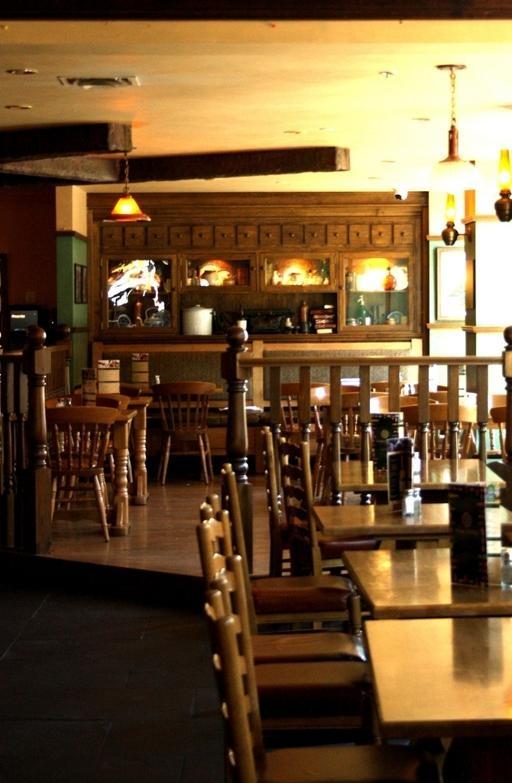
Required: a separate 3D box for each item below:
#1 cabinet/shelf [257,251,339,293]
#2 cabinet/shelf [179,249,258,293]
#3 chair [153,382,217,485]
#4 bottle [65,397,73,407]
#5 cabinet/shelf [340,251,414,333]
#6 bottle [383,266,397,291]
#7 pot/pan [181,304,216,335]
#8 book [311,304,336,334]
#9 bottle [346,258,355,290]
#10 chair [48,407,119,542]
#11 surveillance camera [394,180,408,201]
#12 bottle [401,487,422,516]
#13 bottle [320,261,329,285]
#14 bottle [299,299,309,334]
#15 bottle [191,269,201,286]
[{"bbox_3d":[0.516,-1.394,9.770,0.829,0.399,0.133,-1,2,3],"label":"cabinet/shelf"},{"bbox_3d":[-0.425,-1.392,9.778,0.794,0.352,0.113,-1,2,2],"label":"cabinet/shelf"},{"bbox_3d":[-0.650,0.317,7.657,0.595,0.930,0.626,-3,13,-17],"label":"chair"},{"bbox_3d":[-1.430,0.079,6.305,0.069,0.066,0.015,1,-16,-2],"label":"bottle"},{"bbox_3d":[1.458,-1.197,9.831,0.960,0.891,0.322,0,8,4],"label":"cabinet/shelf"},{"bbox_3d":[1.612,-1.337,9.847,0.155,0.291,0.032,-1,2,8],"label":"bottle"},{"bbox_3d":[-0.691,-0.825,9.715,0.365,0.312,0.332,1,-2,-1],"label":"pot/pan"},{"bbox_3d":[0.835,-0.843,9.894,0.299,0.381,0.393,-2,6,6],"label":"book"},{"bbox_3d":[1.127,-1.372,9.816,0.112,0.348,0.065,-1,2,4],"label":"bottle"},{"bbox_3d":[-1.174,0.505,5.539,0.436,0.848,1.046,-2,2,-12],"label":"chair"},{"bbox_3d":[1.672,-2.278,9.413,0.128,0.151,0.164,3,-40,4],"label":"surveillance camera"},{"bbox_3d":[0.547,0.373,2.823,0.079,0.127,0.082,0,3,0],"label":"bottle"},{"bbox_3d":[0.840,-1.410,9.790,0.109,0.306,0.038,0,2,17],"label":"bottle"},{"bbox_3d":[0.588,-0.900,9.934,0.115,0.397,0.230,-1,2,2],"label":"bottle"},{"bbox_3d":[-0.708,-1.332,9.781,0.108,0.195,0.058,-1,2,-10],"label":"bottle"}]
